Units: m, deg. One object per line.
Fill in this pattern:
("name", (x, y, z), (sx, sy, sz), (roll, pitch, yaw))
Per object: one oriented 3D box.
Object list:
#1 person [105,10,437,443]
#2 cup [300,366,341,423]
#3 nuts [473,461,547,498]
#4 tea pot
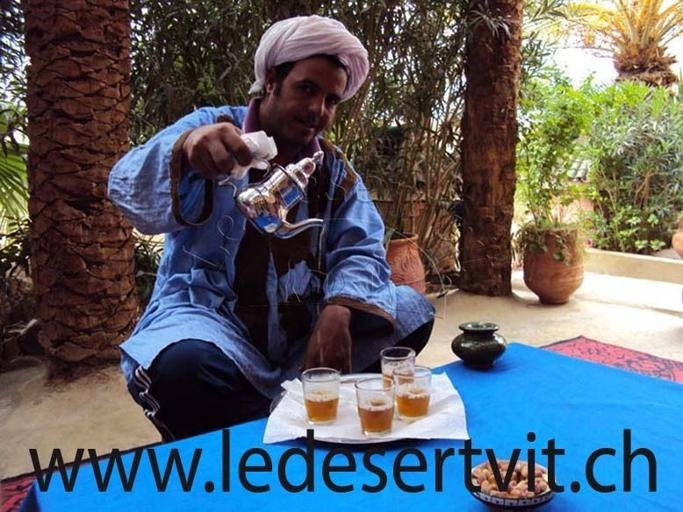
("person", (-0.284, 0.015, 2.103), (0.894, 1.872, 0.959), (-3, 3, -37))
("cup", (-0.069, 0.417, 1.617), (0.122, 0.154, 0.114), (0, 3, 0))
("nuts", (0.419, 0.561, 1.429), (0.190, 0.071, 0.182), (2, 5, -1))
("tea pot", (-0.191, -0.169, 1.625), (0.261, 0.238, 0.162), (-3, 9, -6))
